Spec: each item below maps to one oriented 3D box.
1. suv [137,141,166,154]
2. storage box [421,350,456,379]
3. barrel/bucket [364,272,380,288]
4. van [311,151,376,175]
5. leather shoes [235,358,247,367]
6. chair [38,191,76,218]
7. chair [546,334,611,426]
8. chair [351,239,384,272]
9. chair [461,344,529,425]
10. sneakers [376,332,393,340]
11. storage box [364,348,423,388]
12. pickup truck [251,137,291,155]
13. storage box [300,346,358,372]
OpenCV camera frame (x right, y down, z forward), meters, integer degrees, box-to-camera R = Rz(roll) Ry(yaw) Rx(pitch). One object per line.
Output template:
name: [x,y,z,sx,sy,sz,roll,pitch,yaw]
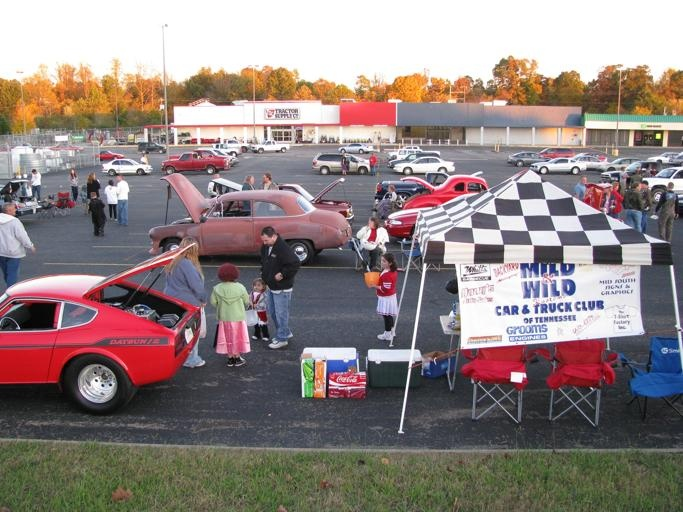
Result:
suv: [-20.135,-11.051,68.647,3.526,1.376,1.639,-1,12,-3]
storage box: [1.590,1.763,10.733,0.504,0.306,0.385,-1,0,-21]
barrel/bucket: [0.576,0.431,12.194,0.264,0.210,0.270,-1,-1,0]
van: [0.008,-6.137,44.794,3.808,1.356,1.628,-2,22,-4]
leather shoes: [-1.695,1.784,11.114,0.078,0.103,0.236,3,10,16]
chair: [-11.214,-1.981,25.947,1.075,1.003,1.588,-3,13,-22]
chair: [3.460,1.758,9.597,0.947,1.293,0.916,3,-2,15]
chair: [0.630,0.001,16.811,0.778,1.027,0.806,-3,4,11]
chair: [2.303,1.805,9.776,0.895,1.000,1.108,1,10,16]
sneakers: [0.783,1.453,12.011,0.109,0.198,0.282,-6,11,-32]
storage box: [0.786,1.768,10.338,0.899,0.491,0.557,1,11,0]
pickup truck: [-7.538,-11.477,69.444,3.683,1.082,1.274,-1,10,3]
storage box: [-0.179,1.610,10.213,0.836,0.264,0.430,-2,10,-2]
